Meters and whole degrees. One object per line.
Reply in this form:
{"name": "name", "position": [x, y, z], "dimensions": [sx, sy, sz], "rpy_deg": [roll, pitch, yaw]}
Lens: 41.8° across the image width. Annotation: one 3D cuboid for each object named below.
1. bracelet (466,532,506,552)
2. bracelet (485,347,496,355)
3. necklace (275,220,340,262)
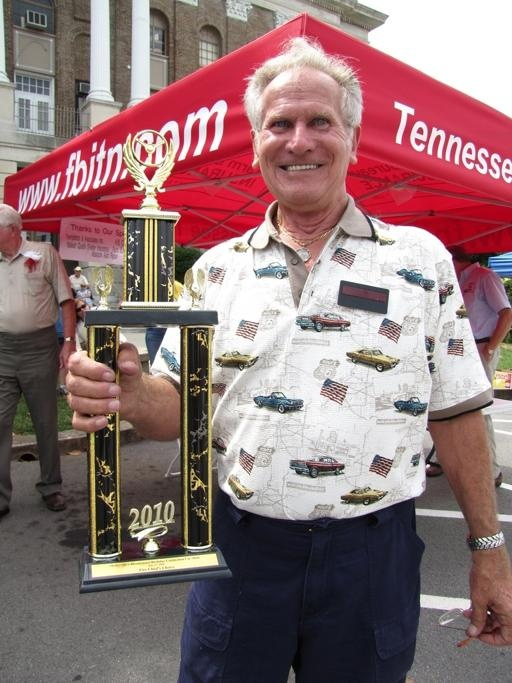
{"name": "bracelet", "position": [0.620, 0.537, 1.799], "dimensions": [0.072, 0.023, 0.067], "rpy_deg": [-11, -7, 20]}
{"name": "bracelet", "position": [1.877, 0.075, 5.366], "dimensions": [0.083, 0.066, 0.018], "rpy_deg": [1, -2, -7]}
{"name": "necklace", "position": [0.146, -0.269, 1.817], "dimensions": [0.184, 0.021, 0.149], "rpy_deg": [4, 46, 3]}
